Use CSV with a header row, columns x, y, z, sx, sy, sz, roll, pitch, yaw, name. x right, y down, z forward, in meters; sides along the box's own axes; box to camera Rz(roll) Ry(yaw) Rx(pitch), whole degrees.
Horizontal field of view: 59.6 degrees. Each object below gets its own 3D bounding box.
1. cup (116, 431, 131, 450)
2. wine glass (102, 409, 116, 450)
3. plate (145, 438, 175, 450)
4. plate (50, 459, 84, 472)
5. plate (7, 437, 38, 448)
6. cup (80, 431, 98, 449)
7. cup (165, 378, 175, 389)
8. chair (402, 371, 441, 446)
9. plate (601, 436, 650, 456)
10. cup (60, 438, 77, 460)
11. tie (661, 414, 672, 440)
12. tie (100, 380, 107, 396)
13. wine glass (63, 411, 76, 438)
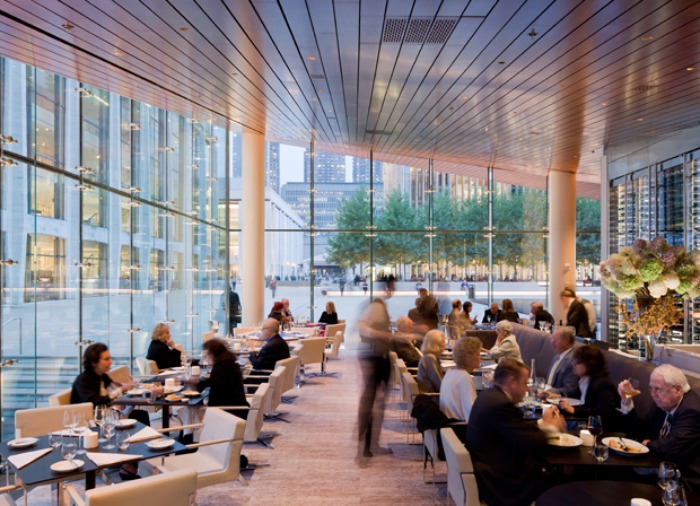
x,y,z,sx,sy,sz,roll,pitch,yaw,name
-2.322,1.914,6.249,0.143,0.156,0.138,-1,-3,0,cup
-2.536,1.827,6.357,0.157,0.413,0.147,0,-17,-22,wine glass
-1.924,1.938,6.174,0.299,0.036,0.240,1,11,-6,plate
-2.679,2.008,5.785,0.285,0.034,0.226,-3,12,-25,plate
-3.321,1.919,6.195,0.272,0.036,0.213,-4,12,-28,plate
-2.612,1.864,6.167,0.157,0.160,0.150,-1,5,0,cup
-2.361,1.711,8.062,0.126,0.115,0.129,2,0,0,cup
1.220,2.595,9.481,0.520,0.610,0.935,20,-19,9,chair
2.681,1.889,5.979,0.215,0.040,0.211,-1,3,-37,plate
-2.725,1.889,5.943,0.133,0.183,0.206,-2,12,-22,cup
3.172,1.742,6.098,0.057,0.214,0.220,11,-2,8,tie
-3.083,1.695,7.641,0.053,0.148,0.152,4,-6,4,tie
-2.881,1.732,6.296,0.113,0.286,0.265,-3,12,-24,wine glass
